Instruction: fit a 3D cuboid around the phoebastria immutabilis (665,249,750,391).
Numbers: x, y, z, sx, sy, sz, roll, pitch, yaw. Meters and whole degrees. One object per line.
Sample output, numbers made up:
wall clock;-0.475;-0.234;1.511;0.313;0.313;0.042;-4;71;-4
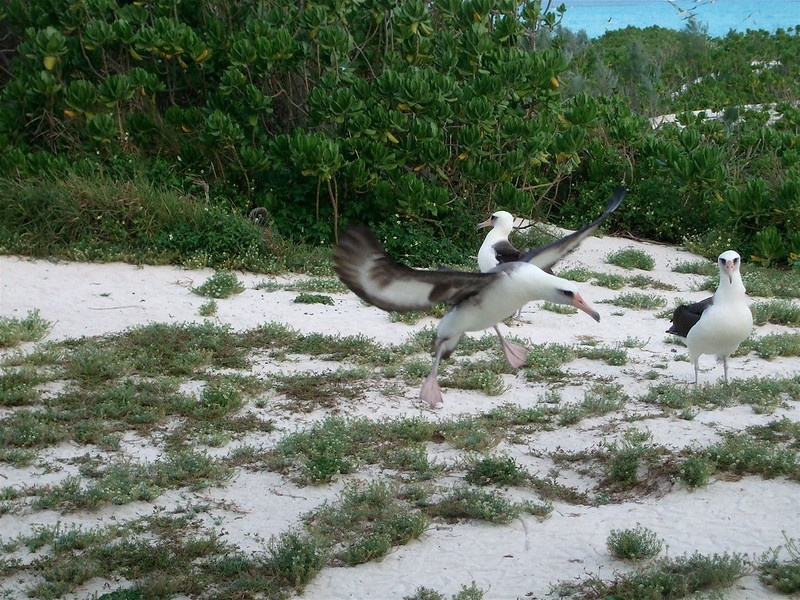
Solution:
phoebastria immutabilis;3.841;0.214;12.854;0.634;1.631;0.817;-2;8;-20
